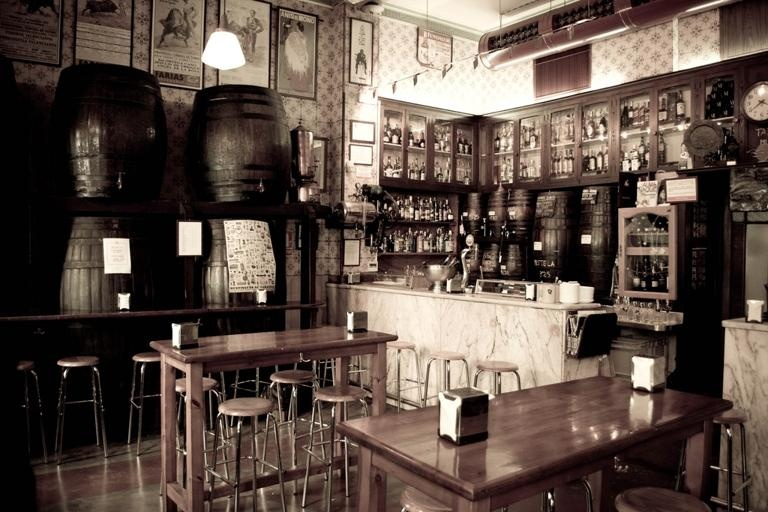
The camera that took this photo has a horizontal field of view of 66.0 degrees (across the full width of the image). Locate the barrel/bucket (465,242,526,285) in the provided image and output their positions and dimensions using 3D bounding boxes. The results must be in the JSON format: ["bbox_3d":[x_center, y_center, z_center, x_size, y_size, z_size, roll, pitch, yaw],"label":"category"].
[{"bbox_3d":[1.579,0.074,8.492,0.658,0.684,0.658,0,0,0],"label":"barrel/bucket"}]

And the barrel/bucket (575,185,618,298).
[{"bbox_3d":[2.738,-0.174,7.650,0.491,1.458,0.356,-1,1,24],"label":"barrel/bucket"}]

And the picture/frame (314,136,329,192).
[{"bbox_3d":[-0.809,-1.184,7.663,0.218,0.691,0.060,-2,1,-37],"label":"picture/frame"}]

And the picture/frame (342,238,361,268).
[{"bbox_3d":[-0.433,-0.035,7.673,0.367,0.516,0.035,-2,3,-34],"label":"picture/frame"}]

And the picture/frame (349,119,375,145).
[{"bbox_3d":[-0.299,-1.606,7.675,0.356,0.259,0.037,-1,1,-36],"label":"picture/frame"}]

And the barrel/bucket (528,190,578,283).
[{"bbox_3d":[2.297,-0.268,8.045,0.648,1.207,0.343,-1,1,20],"label":"barrel/bucket"}]

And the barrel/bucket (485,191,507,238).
[{"bbox_3d":[1.607,-0.603,8.467,0.295,0.724,0.143,-1,1,25],"label":"barrel/bucket"}]

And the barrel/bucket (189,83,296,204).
[{"bbox_3d":[-1.520,-1.149,6.554,1.149,1.146,1.150,0,1,0],"label":"barrel/bucket"}]

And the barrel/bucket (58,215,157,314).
[{"bbox_3d":[-2.656,0.111,6.082,0.874,1.207,0.858,0,-3,0],"label":"barrel/bucket"}]

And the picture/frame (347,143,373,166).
[{"bbox_3d":[-0.329,-1.310,7.659,0.312,0.225,0.034,-1,2,-35],"label":"picture/frame"}]

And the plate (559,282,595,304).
[{"bbox_3d":[1.823,0.347,5.573,0.366,0.200,0.154,-1,1,-31],"label":"plate"}]

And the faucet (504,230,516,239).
[{"bbox_3d":[1.774,-0.305,8.365,0.142,0.143,0.059,26,15,26],"label":"faucet"}]

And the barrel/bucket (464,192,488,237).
[{"bbox_3d":[1.344,-0.598,8.631,0.331,0.620,0.135,-1,1,8],"label":"barrel/bucket"}]

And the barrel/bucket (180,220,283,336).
[{"bbox_3d":[-1.621,0.232,6.614,1.113,1.496,1.043,1,-3,0],"label":"barrel/bucket"}]

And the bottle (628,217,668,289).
[{"bbox_3d":[3.061,-0.035,6.900,0.447,0.896,0.224,-1,1,30],"label":"bottle"}]
